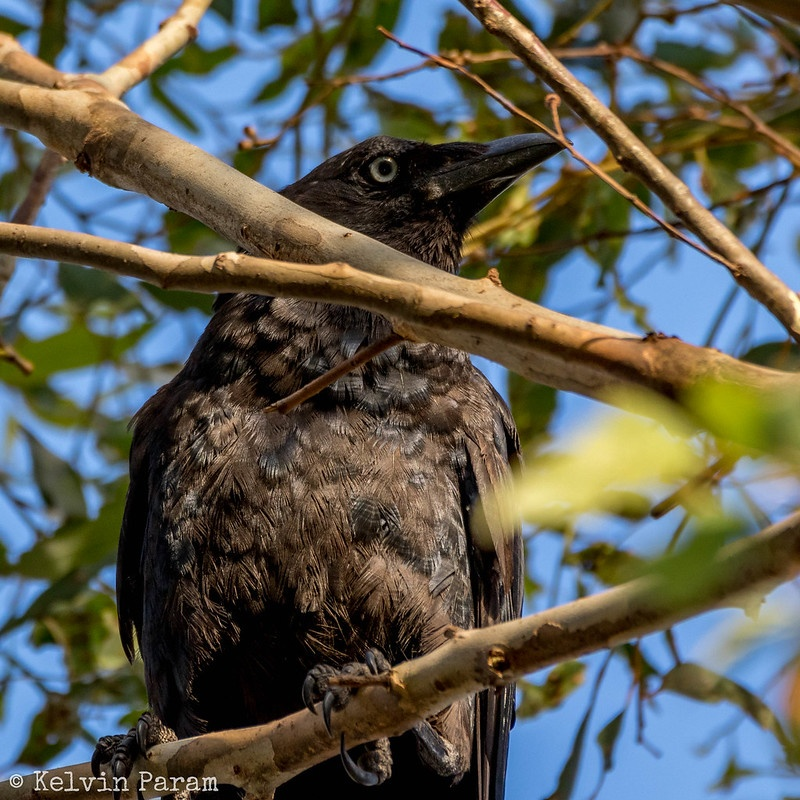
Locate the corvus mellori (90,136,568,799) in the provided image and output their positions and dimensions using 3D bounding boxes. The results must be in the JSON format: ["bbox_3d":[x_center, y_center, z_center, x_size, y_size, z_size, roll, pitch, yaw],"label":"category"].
[{"bbox_3d":[-0.243,0.131,5.389,1.410,2.230,0.954,1,-20,-8],"label":"corvus mellori"}]
